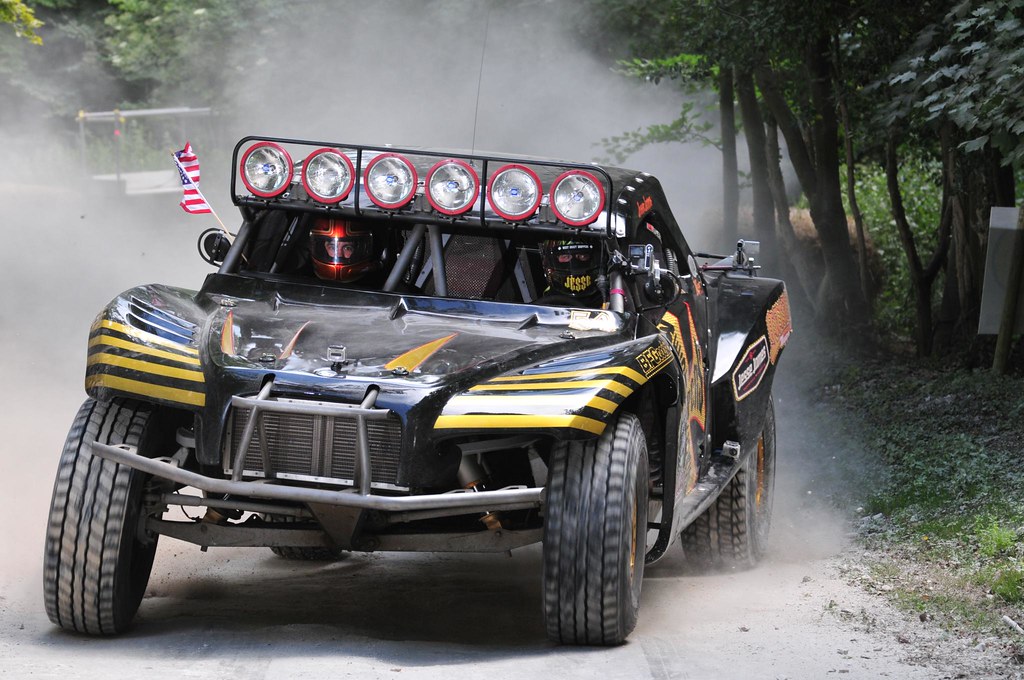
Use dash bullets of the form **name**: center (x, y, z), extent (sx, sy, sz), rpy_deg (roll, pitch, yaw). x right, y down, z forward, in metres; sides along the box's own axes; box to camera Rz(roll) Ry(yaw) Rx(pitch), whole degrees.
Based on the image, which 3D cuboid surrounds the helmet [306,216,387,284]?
- **helmet**: center (-1.109, -0.640, 5.693), extent (0.472, 0.406, 0.511), rpy_deg (2, 23, -4)

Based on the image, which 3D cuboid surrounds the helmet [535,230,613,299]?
- **helmet**: center (0.371, -0.494, 5.418), extent (0.365, 0.407, 0.460), rpy_deg (-5, 6, -1)

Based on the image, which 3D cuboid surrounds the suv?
- **suv**: center (-0.021, 0.199, 6.322), extent (3.902, 2.476, 5.638), rpy_deg (3, 8, 28)
